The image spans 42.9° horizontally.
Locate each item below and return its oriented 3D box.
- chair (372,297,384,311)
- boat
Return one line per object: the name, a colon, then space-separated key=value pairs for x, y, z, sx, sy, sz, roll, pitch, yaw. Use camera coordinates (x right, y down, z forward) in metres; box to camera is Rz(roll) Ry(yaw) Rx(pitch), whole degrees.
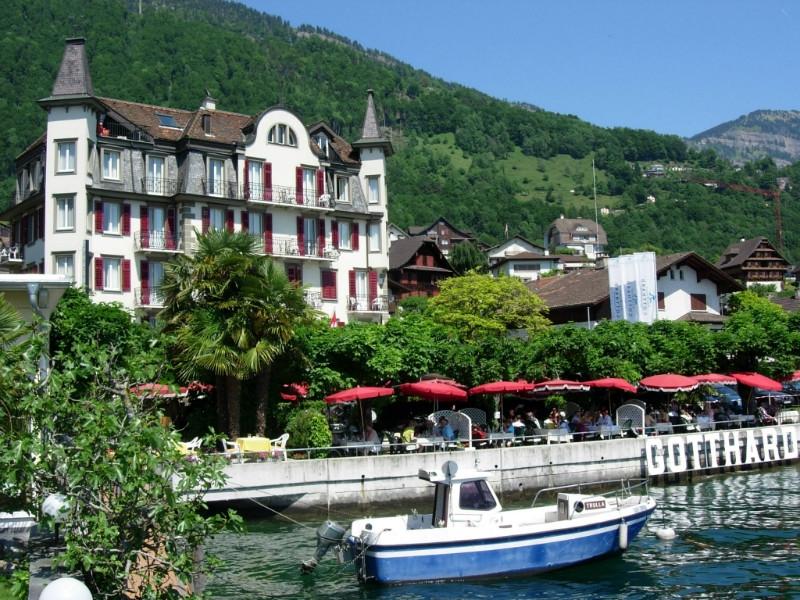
chair: x=-1.488 y=0.222 z=67.465 sx=0.757 sy=0.826 sz=0.770 roll=3 pitch=8 yaw=17
boat: x=2.741 y=7.151 z=33.547 sx=10.679 sy=3.757 sz=1.423 roll=-1 pitch=-7 yaw=-14
